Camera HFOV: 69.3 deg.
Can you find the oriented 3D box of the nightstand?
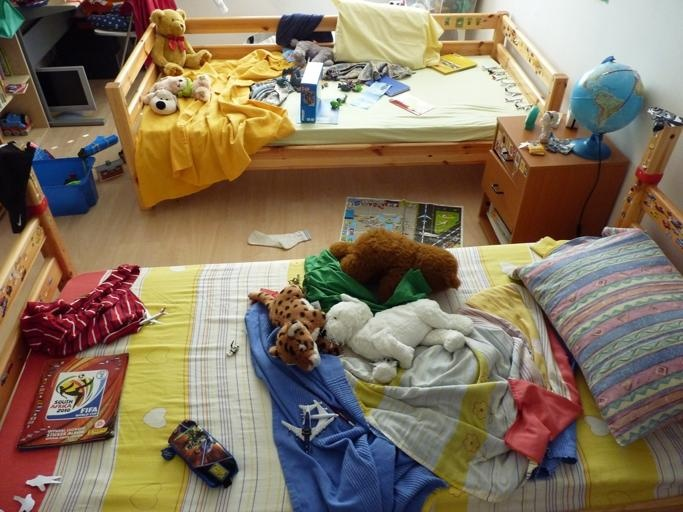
[{"bbox_3d":[1.152,-0.410,3.064,0.632,0.719,0.828,3,32,1],"label":"nightstand"}]

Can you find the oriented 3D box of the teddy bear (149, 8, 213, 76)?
[{"bbox_3d":[-1.232,-1.593,3.817,0.412,0.574,0.419,-13,38,-21],"label":"teddy bear"}]

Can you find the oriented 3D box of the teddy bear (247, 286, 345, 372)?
[{"bbox_3d":[-0.200,0.287,2.093,0.343,0.303,0.406,-1,32,-10],"label":"teddy bear"}]

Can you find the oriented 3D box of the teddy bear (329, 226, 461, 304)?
[{"bbox_3d":[0.241,0.014,2.490,0.507,0.356,0.514,-2,31,-14],"label":"teddy bear"}]

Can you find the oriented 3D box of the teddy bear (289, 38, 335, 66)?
[{"bbox_3d":[-0.224,-1.584,3.870,0.275,0.108,0.276,-20,45,-41],"label":"teddy bear"}]

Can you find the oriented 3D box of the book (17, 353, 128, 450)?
[{"bbox_3d":[-1.053,0.570,1.947,0.277,0.044,0.293,-5,52,-2],"label":"book"}]

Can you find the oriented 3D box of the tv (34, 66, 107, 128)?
[{"bbox_3d":[-2.321,-1.411,4.283,0.565,0.511,0.303,-2,41,-7],"label":"tv"}]
